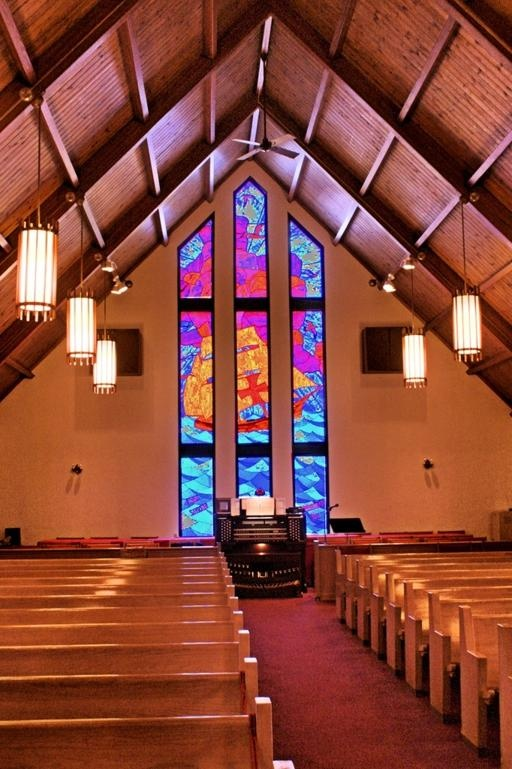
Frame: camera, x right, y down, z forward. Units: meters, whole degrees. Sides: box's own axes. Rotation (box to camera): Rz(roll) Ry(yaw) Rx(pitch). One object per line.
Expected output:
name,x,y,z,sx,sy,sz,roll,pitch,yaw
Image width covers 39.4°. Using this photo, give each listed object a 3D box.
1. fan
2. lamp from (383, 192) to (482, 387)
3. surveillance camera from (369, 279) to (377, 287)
fan,0.096,-3.544,8.959,0.799,1.265,0.888,28,46,35
lamp,2.630,-1.445,10.695,0.448,3.889,1.468,15,-26,-21
surveillance camera,2.150,-1.881,13.140,0.145,0.140,0.209,-3,-8,-4
